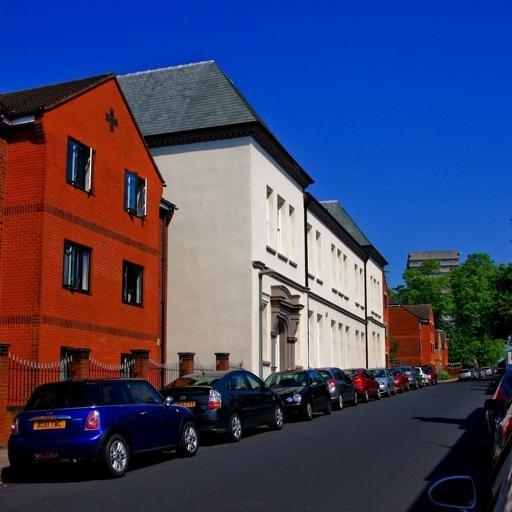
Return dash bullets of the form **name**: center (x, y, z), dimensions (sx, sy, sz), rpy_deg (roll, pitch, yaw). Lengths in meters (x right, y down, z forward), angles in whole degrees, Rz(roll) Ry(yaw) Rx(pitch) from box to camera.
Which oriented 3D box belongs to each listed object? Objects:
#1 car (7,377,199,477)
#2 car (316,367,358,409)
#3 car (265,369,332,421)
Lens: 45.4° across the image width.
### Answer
- **car**: center (-2.423, 2.840, 10.269), dimensions (1.411, 1.613, 3.002), rpy_deg (-13, -19, 41)
- **car**: center (3.240, 5.267, 24.703), dimensions (1.025, 1.208, 2.474), rpy_deg (-5, -8, 24)
- **car**: center (1.532, 4.617, 20.292), dimensions (1.018, 1.084, 2.620), rpy_deg (-7, -21, 16)
